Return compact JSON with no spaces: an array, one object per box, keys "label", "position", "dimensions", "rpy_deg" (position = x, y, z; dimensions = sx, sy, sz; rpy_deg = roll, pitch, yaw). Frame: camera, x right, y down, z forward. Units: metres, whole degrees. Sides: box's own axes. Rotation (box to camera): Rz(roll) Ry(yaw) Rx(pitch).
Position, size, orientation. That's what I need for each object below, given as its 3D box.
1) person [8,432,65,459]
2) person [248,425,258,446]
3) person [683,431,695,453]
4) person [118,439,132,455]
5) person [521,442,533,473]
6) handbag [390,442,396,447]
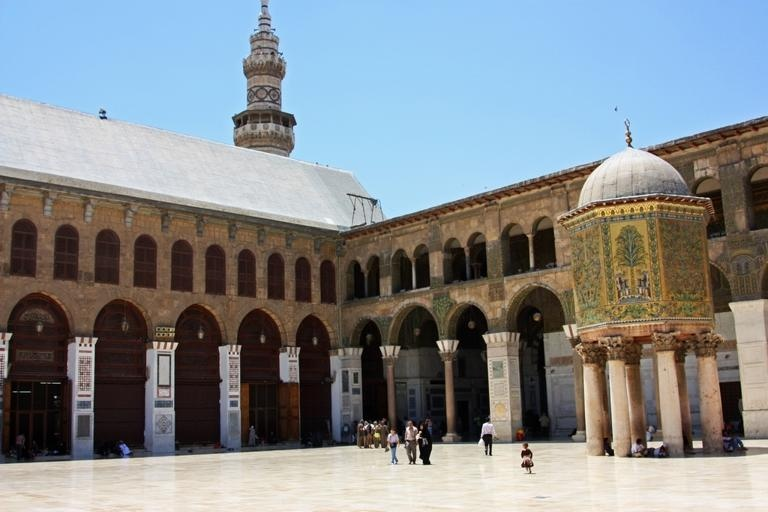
[{"label":"person","position":[-13.715,7.572,32.584],"dimensions":[1.602,0.660,1.120],"rpy_deg":[-1,-10,-9]},{"label":"person","position":[-5.943,8.142,37.313],"dimensions":[0.370,0.994,0.697],"rpy_deg":[-7,-17,9]},{"label":"person","position":[9.498,5.839,25.834],"dimensions":[0.278,0.696,0.862],"rpy_deg":[-10,-18,17]},{"label":"person","position":[-10.513,7.794,33.435],"dimensions":[0.500,0.649,0.836],"rpy_deg":[1,-18,-18]},{"label":"person","position":[4.063,5.787,23.642],"dimensions":[0.326,0.915,1.486],"rpy_deg":[-7,-17,8]},{"label":"handbag","position":[0.305,6.270,27.257],"dimensions":[0.118,0.111,0.119],"rpy_deg":[-5,-11,17]}]
